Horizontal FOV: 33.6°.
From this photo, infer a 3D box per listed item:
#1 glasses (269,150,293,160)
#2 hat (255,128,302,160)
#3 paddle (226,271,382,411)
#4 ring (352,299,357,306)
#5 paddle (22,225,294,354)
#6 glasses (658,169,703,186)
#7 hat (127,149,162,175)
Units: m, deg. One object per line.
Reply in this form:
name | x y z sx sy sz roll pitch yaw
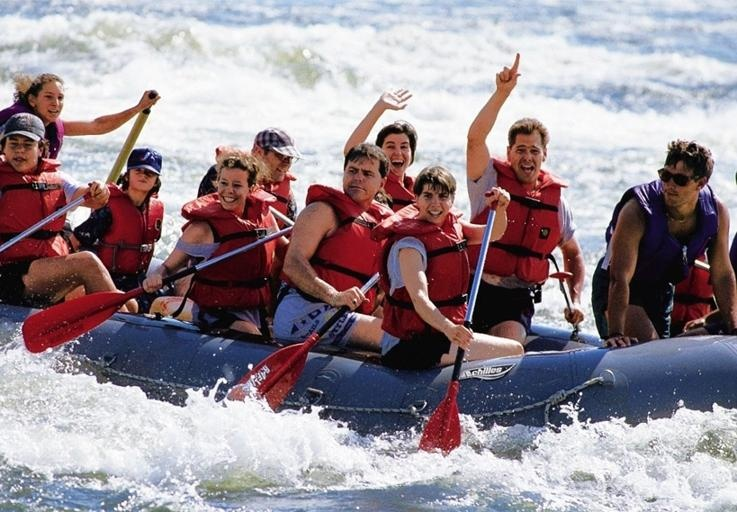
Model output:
glasses | -0.898 -1.014 12.160 0.122 0.036 0.120 14 11 -39
hat | -0.946 -1.168 12.202 0.415 0.202 0.297 10 12 -10
paddle | -0.586 0.767 10.696 1.654 0.081 0.347 -37 67 -24
ring | -0.147 0.383 10.445 0.041 0.050 0.017 0 3 2
paddle | -1.973 0.324 11.175 3.357 0.465 0.180 -17 -4 -11
glasses | 2.743 -0.702 10.744 0.348 0.136 0.118 11 9 18
hat | -2.252 -0.953 11.865 0.229 0.172 0.321 21 0 -33
